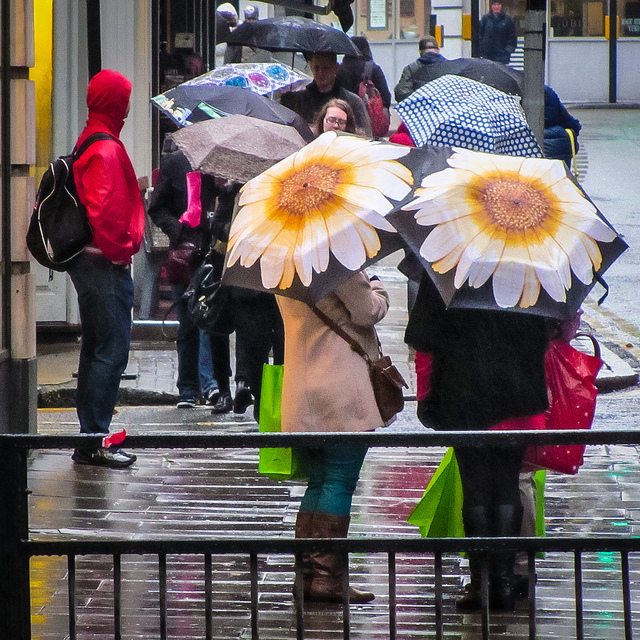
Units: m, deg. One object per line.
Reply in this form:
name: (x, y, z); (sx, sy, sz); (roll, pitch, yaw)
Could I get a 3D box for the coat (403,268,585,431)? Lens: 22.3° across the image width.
coat: (0.761, 0.172, 7.376); (0.686, 0.738, 0.725); (1, 10, 8)

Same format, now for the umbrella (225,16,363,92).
umbrella: (-0.202, -2.305, 14.583); (1.094, 0.875, 1.237); (-1, 12, -3)

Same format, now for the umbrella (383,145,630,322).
umbrella: (0.767, -0.354, 6.894); (1.004, 0.682, 0.548); (1, 7, 1)

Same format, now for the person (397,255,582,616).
person: (0.802, 0.274, 7.379); (0.848, 2.027, 0.514); (-8, 24, -9)

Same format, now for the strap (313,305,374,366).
strap: (0.083, 0.070, 7.187); (0.329, 0.035, 0.048); (46, 17, 9)

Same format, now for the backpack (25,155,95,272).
backpack: (-1.466, -0.634, 9.265); (0.357, 0.678, 0.506); (-3, 9, -11)

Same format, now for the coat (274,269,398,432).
coat: (0.045, 0.052, 7.372); (0.478, 0.855, 0.585); (-11, 14, -25)

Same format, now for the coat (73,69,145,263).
coat: (-1.202, -0.873, 9.219); (0.411, 1.101, 0.434); (-4, 8, -34)

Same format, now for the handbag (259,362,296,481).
handbag: (-0.188, 0.466, 7.217); (0.162, 0.557, 0.488); (-1, -5, 1)

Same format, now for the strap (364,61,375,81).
strap: (0.463, -2.504, 16.205); (0.099, 0.170, 0.172); (-2, -23, -2)

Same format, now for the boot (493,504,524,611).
boot: (0.819, 1.070, 7.256); (0.128, 0.495, 0.294); (2, 7, 10)

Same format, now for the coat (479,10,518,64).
coat: (2.967, -4.917, 28.010); (0.698, 0.921, 0.492); (4, 7, 25)

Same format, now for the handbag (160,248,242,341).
handbag: (-0.727, -0.184, 10.847); (0.381, 0.805, 0.658); (10, -16, 0)

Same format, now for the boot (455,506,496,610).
boot: (0.669, 1.094, 7.135); (0.172, 0.485, 0.551); (1, 7, 5)

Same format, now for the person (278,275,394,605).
person: (0.037, 0.571, 7.015); (0.491, 1.513, 1.128); (1, 7, 1)
